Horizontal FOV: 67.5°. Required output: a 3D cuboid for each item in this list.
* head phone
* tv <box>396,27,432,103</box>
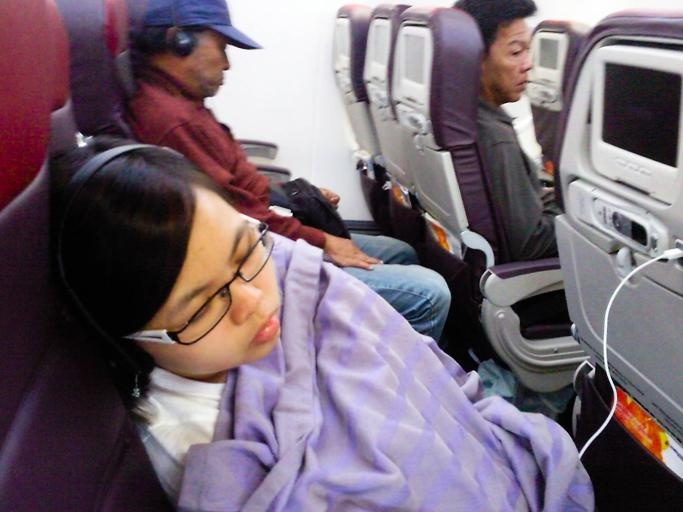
[{"bbox_3d":[-0.288,0.000,0.807,0.116,0.261,0.209,-18,58,-18],"label":"head phone"},{"bbox_3d":[0.217,-0.605,1.628,0.029,0.239,0.313,9,18,27],"label":"tv"}]
